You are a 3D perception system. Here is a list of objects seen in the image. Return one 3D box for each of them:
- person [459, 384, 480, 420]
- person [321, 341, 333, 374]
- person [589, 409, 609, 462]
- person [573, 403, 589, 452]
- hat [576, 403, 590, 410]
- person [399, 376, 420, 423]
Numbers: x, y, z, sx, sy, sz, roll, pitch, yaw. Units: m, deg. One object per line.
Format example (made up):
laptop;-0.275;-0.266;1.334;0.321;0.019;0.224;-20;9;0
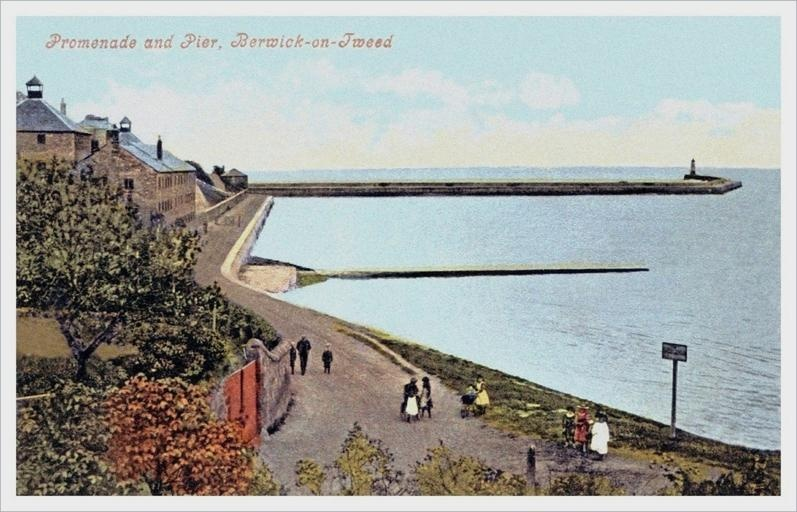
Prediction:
person;3.267;6.823;50.311;0.650;1.282;0.940;10;16;26
person;-3.453;4.794;52.420;0.534;1.571;1.790;2;14;-3
person;9.105;8.140;48.821;0.870;2.159;0.794;7;15;13
person;8.343;7.861;49.029;0.790;2.085;0.500;8;15;18
hat;8.900;7.286;52.066;0.615;0.165;0.629;-1;4;30
person;0.544;6.589;49.733;0.906;2.008;0.960;4;14;3
